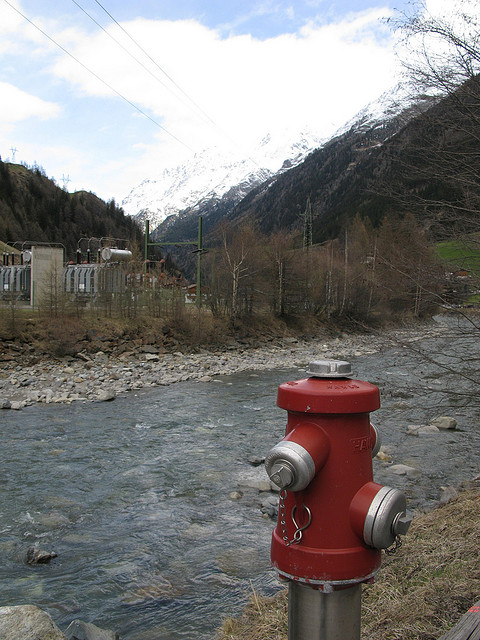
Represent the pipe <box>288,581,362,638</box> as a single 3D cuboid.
[{"bbox_3d":[0.334,1.087,2.480,0.237,0.224,0.233,-2,-6,16],"label":"pipe"}]
